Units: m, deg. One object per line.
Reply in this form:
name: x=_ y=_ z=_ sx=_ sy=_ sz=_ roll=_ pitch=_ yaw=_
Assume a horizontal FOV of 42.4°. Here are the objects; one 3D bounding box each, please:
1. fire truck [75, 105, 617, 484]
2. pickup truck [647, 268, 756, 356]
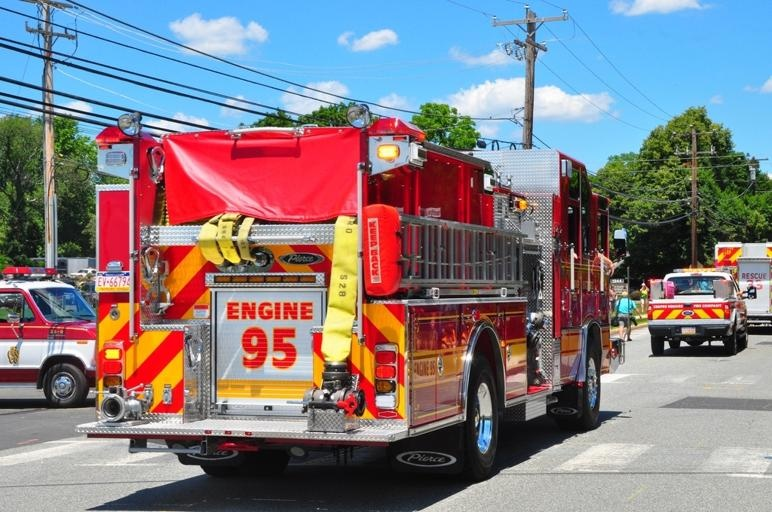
fire truck: x=0.077 y=0.612 z=15.326 sx=4.909 sy=4.117 sz=9.011 roll=-1 pitch=-1 yaw=26
pickup truck: x=9.718 y=1.720 z=31.052 sx=2.796 sy=2.700 sz=3.100 roll=-2 pitch=-4 yaw=16
